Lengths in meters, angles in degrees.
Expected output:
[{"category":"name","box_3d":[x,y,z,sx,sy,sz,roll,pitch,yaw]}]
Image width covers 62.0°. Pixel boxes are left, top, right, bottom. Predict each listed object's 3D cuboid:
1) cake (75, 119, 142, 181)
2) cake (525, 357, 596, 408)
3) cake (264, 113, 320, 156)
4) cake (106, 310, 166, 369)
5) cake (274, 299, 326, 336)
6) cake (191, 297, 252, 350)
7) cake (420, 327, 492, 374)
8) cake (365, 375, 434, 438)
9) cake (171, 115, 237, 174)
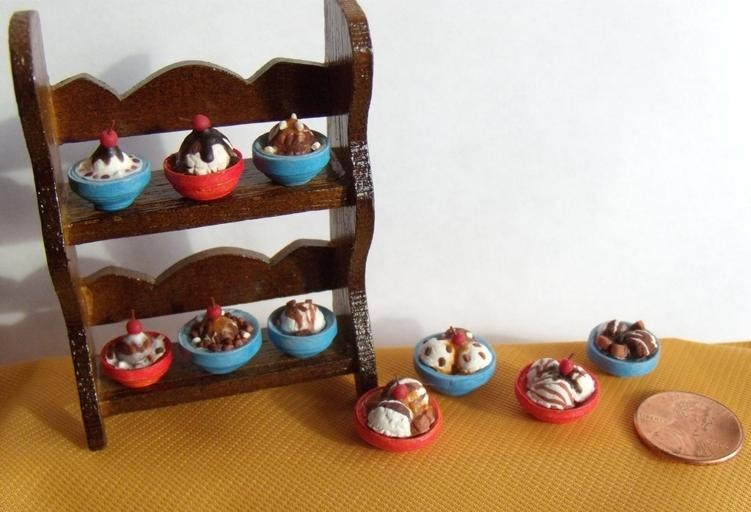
[{"category":"cake","box_3d":[-0.610,-0.243,1.426,0.154,0.100,0.158,-4,38,-23]},{"category":"cake","box_3d":[0.475,0.339,1.621,0.136,0.071,0.135,-29,41,-34]},{"category":"cake","box_3d":[-0.215,-0.282,1.515,0.123,0.086,0.136,-14,22,-8]},{"category":"cake","box_3d":[-0.607,0.232,1.625,0.131,0.131,0.137,1,15,1]},{"category":"cake","box_3d":[-0.204,0.148,1.681,0.095,0.061,0.097,-3,11,-12]},{"category":"cake","box_3d":[-0.404,0.168,1.609,0.156,0.105,0.168,1,33,-11]},{"category":"cake","box_3d":[0.217,0.257,1.660,0.135,0.072,0.145,-3,45,5]},{"category":"cake","box_3d":[0.069,0.385,1.600,0.170,0.080,0.218,4,25,17]},{"category":"cake","box_3d":[-0.406,-0.267,1.477,0.152,0.137,0.153,-13,20,-22]}]
